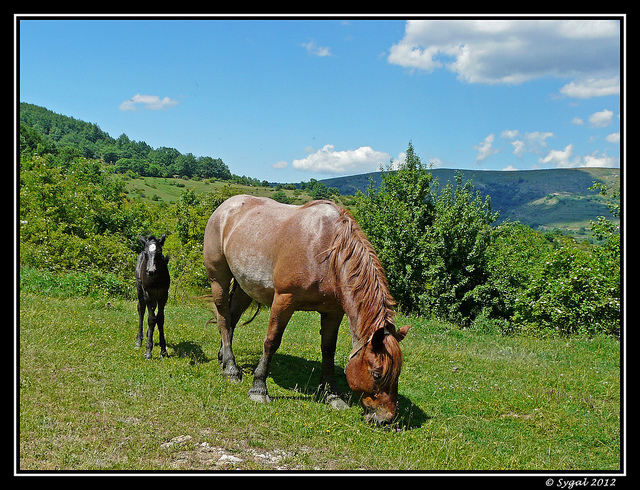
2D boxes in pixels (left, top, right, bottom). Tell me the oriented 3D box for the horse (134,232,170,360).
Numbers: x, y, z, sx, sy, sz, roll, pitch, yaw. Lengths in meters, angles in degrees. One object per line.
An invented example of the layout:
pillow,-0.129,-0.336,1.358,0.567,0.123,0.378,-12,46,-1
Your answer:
horse,-4.719,1.301,13.740,0.901,3.405,2.730,2,7,-21

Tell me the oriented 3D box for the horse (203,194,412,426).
horse,-0.493,1.229,10.865,5.327,4.475,1.551,11,9,42
